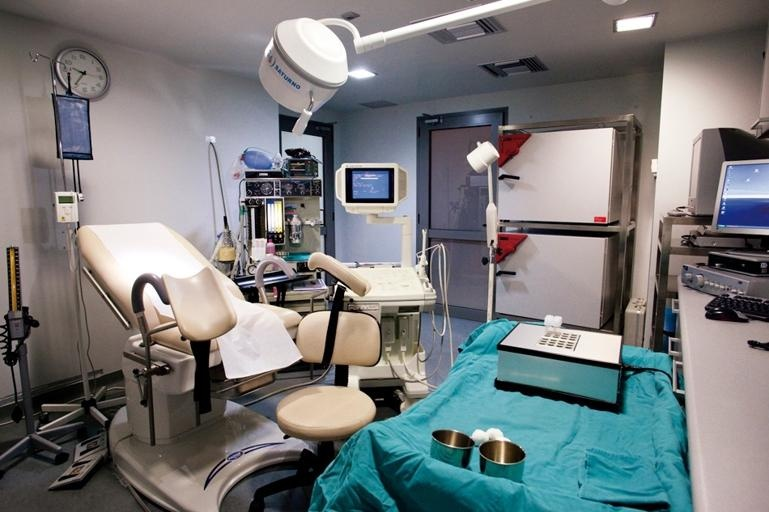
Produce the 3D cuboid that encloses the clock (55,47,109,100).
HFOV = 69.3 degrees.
[{"bbox_3d":[-2.605,-1.582,4.813,0.436,0.443,0.201,-7,11,-33],"label":"clock"}]

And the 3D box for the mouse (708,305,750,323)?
[{"bbox_3d":[1.965,0.327,3.193,0.162,0.048,0.090,2,9,31],"label":"mouse"}]

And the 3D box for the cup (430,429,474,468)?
[{"bbox_3d":[0.347,0.991,2.876,0.183,0.111,0.179,7,-2,0],"label":"cup"}]

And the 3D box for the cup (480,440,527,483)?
[{"bbox_3d":[0.595,1.026,2.803,0.196,0.121,0.192,1,8,0],"label":"cup"}]
